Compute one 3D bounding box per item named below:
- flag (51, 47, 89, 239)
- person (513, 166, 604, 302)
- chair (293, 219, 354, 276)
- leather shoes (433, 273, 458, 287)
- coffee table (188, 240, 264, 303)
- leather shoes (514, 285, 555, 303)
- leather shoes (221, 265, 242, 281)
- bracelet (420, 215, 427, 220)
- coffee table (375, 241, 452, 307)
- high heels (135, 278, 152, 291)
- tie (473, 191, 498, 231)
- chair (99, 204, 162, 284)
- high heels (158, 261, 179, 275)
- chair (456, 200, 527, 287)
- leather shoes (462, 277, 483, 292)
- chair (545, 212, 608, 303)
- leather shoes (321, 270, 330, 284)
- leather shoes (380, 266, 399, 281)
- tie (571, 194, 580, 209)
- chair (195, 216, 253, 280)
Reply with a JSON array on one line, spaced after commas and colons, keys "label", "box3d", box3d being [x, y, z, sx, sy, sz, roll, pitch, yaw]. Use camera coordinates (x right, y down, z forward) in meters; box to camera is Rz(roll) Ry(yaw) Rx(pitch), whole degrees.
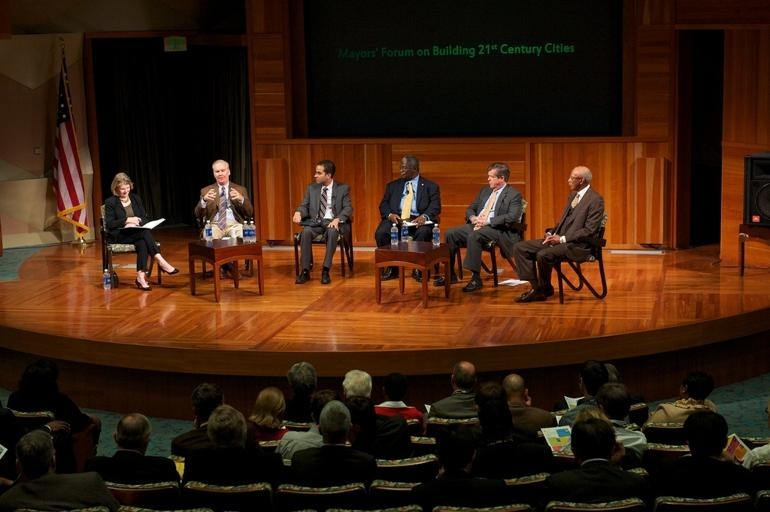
[{"label": "flag", "box3d": [-5.233, -1.762, 9.719, 0.499, 3.030, 0.310, 1, 8, 18]}, {"label": "person", "box3d": [1.810, -0.234, 6.150, 0.925, 1.344, 0.529, -1, 8, 5]}, {"label": "chair", "box3d": [-0.806, -0.304, 7.389, 0.682, 1.093, 0.816, -2, -8, 8]}, {"label": "leather shoes", "box3d": [0.725, 0.276, 6.849, 0.350, 0.146, 0.116, -3, 3, -24]}, {"label": "coffee table", "box3d": [-1.753, 0.149, 6.561, 0.659, 0.531, 0.691, 3, 7, 34]}, {"label": "leather shoes", "box3d": [1.559, 0.374, 6.152, 0.462, 0.193, 0.153, -4, 9, -10]}, {"label": "leather shoes", "box3d": [-1.855, 0.202, 7.164, 0.170, 0.217, 0.512, -2, 0, -23]}, {"label": "bracelet", "box3d": [0.462, -0.467, 7.054, 0.069, 0.017, 0.074, 12, 17, 5]}, {"label": "coffee table", "box3d": [0.297, 0.194, 6.282, 0.686, 0.536, 0.659, 0, 7, 23]}, {"label": "high heels", "box3d": [-2.784, 0.335, 6.881, 0.109, 0.142, 0.314, -1, -3, -35]}, {"label": "tie", "box3d": [1.199, -0.559, 6.938, 0.151, 0.173, 0.728, 13, 51, 26]}, {"label": "chair", "box3d": [-3.147, -0.167, 7.263, 0.597, 0.945, 0.894, -5, 9, -26]}, {"label": "high heels", "box3d": [-2.611, 0.152, 7.136, 0.260, 0.115, 0.090, 13, 28, 32]}, {"label": "chair", "box3d": [1.317, -0.196, 6.995, 0.716, 0.912, 0.654, -14, 20, -43]}, {"label": "leather shoes", "box3d": [0.981, 0.312, 6.556, 0.109, 0.125, 0.265, 10, 15, 42]}, {"label": "chair", "box3d": [2.028, 0.004, 6.364, 0.732, 0.876, 0.718, -1, -1, -22]}, {"label": "leather shoes", "box3d": [-0.701, 0.235, 7.048, 0.118, 0.161, 0.258, -2, 9, -6]}, {"label": "leather shoes", "box3d": [0.061, 0.217, 7.127, 0.102, 0.208, 0.304, 0, 0, 37]}, {"label": "tie", "box3d": [2.045, -0.591, 6.387, 0.035, 0.123, 0.087, 27, 1, -33]}, {"label": "chair", "box3d": [-1.876, -0.030, 7.200, 0.958, 0.449, 0.647, -5, 11, -30]}]
